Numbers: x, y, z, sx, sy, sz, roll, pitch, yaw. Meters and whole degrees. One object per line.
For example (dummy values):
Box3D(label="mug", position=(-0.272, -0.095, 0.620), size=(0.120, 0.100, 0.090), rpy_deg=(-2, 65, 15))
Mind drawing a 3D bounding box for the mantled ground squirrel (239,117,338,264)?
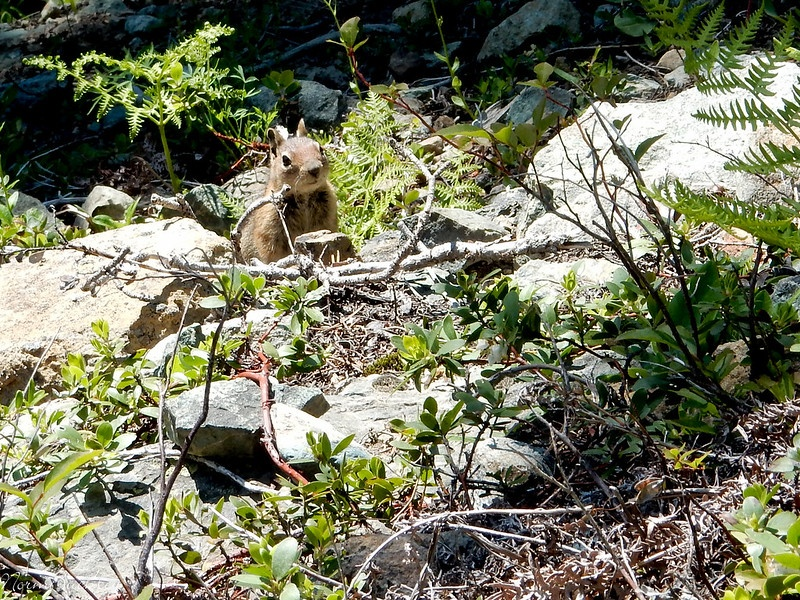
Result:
Box3D(label="mantled ground squirrel", position=(-1.007, -0.919, 8.066), size=(0.904, 0.931, 0.841), rpy_deg=(-11, 37, -9))
